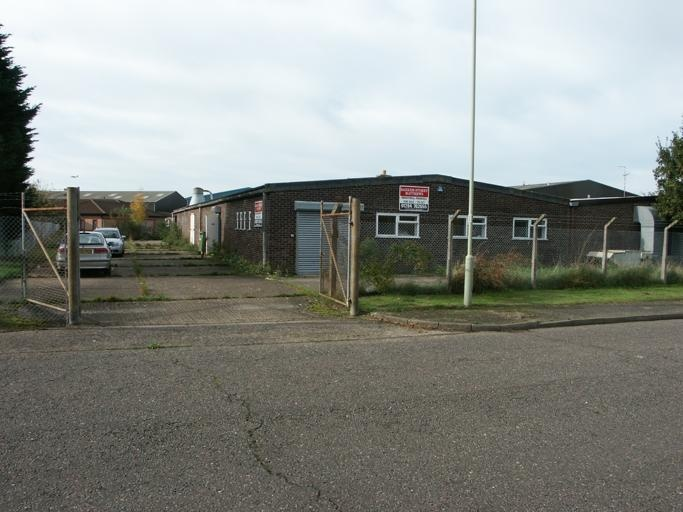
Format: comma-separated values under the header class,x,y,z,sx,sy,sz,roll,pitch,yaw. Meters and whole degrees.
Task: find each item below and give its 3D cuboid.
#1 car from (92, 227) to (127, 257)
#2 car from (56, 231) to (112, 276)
class,x,y,z,sx,sy,sz,roll,pitch,yaw
car,-11.634,-0.741,32.201,1.729,1.408,3.773,0,-3,-11
car,-8.324,0.303,21.082,1.729,1.463,4.043,0,7,-20
